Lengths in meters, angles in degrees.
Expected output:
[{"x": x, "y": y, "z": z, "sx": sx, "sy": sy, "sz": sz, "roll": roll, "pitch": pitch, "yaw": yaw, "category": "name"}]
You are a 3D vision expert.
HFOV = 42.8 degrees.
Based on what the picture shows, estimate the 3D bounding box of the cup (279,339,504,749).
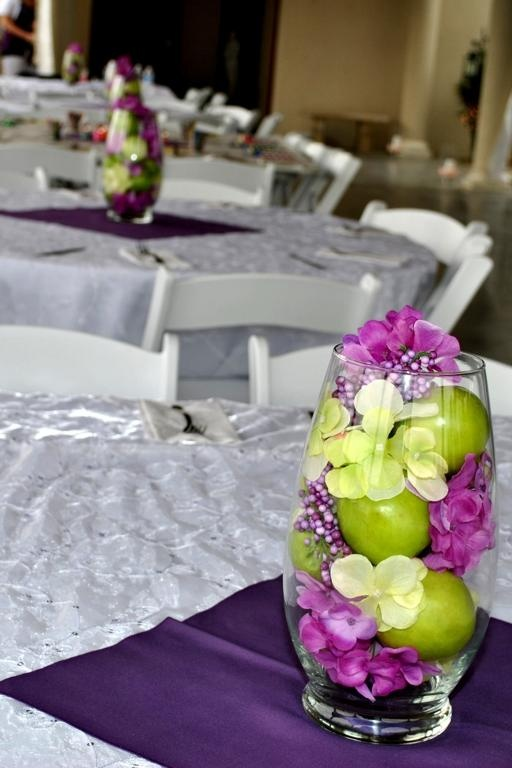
[{"x": 0.054, "y": 0.068, "z": 0.253, "sx": 0.082, "sy": 0.155, "sz": 0.047, "roll": 3, "pitch": 9, "yaw": 2, "category": "cup"}]
